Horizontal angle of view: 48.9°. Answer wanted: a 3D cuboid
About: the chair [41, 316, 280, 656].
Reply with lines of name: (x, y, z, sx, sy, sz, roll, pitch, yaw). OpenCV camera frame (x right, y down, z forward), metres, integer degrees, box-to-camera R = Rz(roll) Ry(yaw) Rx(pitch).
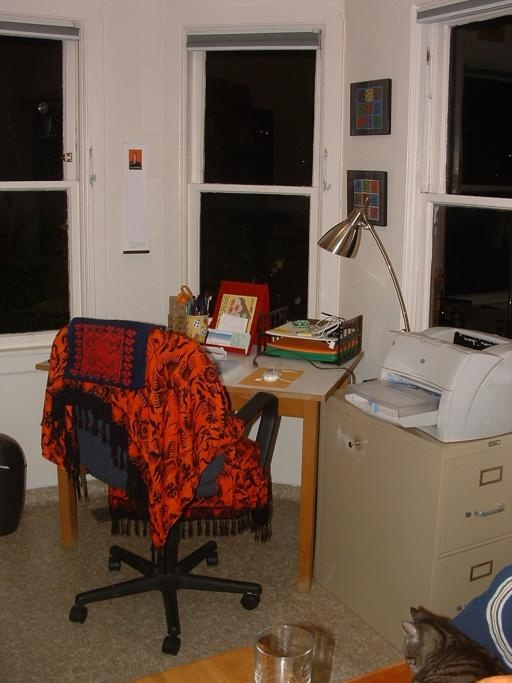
chair: (-0.337, 0.408, 1.964, 0.714, 1.129, 0.637, 4, 11, 19)

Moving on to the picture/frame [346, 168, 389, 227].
picture/frame: (0.482, -0.619, 2.399, 0.029, 0.287, 0.301, -5, 12, -17)

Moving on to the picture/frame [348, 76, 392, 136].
picture/frame: (0.497, -1.015, 2.421, 0.025, 0.282, 0.262, -5, 13, -24)

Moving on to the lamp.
lamp: (0.462, -0.295, 2.254, 0.355, 0.532, 0.526, 7, 15, 21)

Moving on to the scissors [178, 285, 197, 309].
scissors: (-0.331, -0.214, 2.679, 0.065, 0.130, 0.109, -7, 8, -1)
